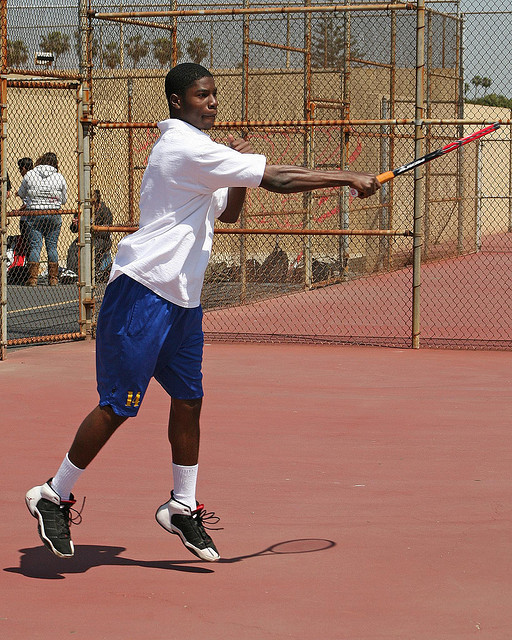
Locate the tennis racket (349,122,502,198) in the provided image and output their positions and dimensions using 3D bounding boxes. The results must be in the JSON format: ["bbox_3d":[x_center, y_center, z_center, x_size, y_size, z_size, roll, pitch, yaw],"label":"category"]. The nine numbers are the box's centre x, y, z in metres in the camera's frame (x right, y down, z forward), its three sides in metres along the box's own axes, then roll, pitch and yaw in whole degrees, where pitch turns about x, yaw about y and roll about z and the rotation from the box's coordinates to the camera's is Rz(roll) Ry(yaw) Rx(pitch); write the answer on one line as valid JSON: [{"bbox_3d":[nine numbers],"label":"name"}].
[{"bbox_3d":[0.770,-0.707,3.497,0.344,0.378,1.547,2,7,25],"label":"tennis racket"}]

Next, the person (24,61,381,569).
[{"bbox_3d":[-0.290,0.090,2.927,1.127,1.584,0.296,-1,7,2],"label":"person"}]

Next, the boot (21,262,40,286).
[{"bbox_3d":[-3.835,-0.784,14.000,0.208,0.406,0.295,-3,7,-14],"label":"boot"}]

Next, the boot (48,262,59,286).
[{"bbox_3d":[-3.520,-0.792,14.095,0.176,0.405,0.217,-3,7,-14],"label":"boot"}]
